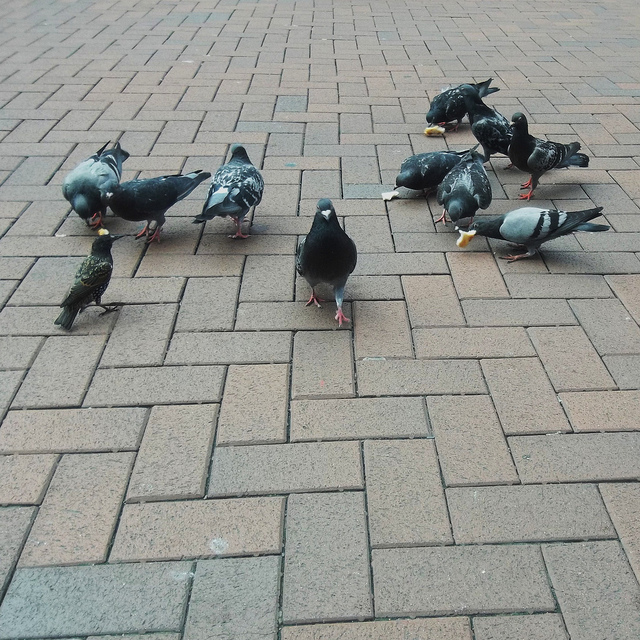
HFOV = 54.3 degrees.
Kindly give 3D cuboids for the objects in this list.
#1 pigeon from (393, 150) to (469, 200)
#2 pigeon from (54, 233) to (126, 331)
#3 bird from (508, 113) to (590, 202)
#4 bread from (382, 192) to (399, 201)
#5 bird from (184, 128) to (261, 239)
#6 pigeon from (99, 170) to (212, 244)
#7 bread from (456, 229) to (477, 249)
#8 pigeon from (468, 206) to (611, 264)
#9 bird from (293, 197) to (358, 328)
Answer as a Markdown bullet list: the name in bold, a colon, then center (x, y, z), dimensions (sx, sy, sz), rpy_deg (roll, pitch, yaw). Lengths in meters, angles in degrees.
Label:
- **pigeon**: center (0.925, -1.239, 4.909), dimensions (0.725, 0.235, 0.297), rpy_deg (-41, 54, -17)
- **pigeon**: center (-1.318, -0.242, 3.597), dimensions (0.488, 0.501, 0.242), rpy_deg (-12, 19, -27)
- **bird**: center (1.773, -1.330, 4.930), dimensions (0.642, 0.614, 0.383), rpy_deg (-26, 49, -28)
- **bread**: center (0.550, -0.988, 4.913), dimensions (0.086, 0.024, 0.082), rpy_deg (-21, 28, -29)
- **bird**: center (-0.627, -0.920, 4.372), dimensions (0.375, 0.641, 0.979), rpy_deg (3, 18, 8)
- **pigeon**: center (-1.137, -0.832, 4.370), dimensions (0.268, 0.484, 0.692), rpy_deg (27, 47, 24)
- **bread**: center (0.990, -0.551, 4.191), dimensions (0.087, 0.131, 0.055), rpy_deg (22, 15, -12)
- **pigeon**: center (1.452, -0.590, 4.159), dimensions (0.837, 0.370, 0.249), rpy_deg (0, 42, -2)
- **bird**: center (0.067, -0.343, 3.569), dimensions (0.311, 0.738, 0.478), rpy_deg (-26, 49, -26)
